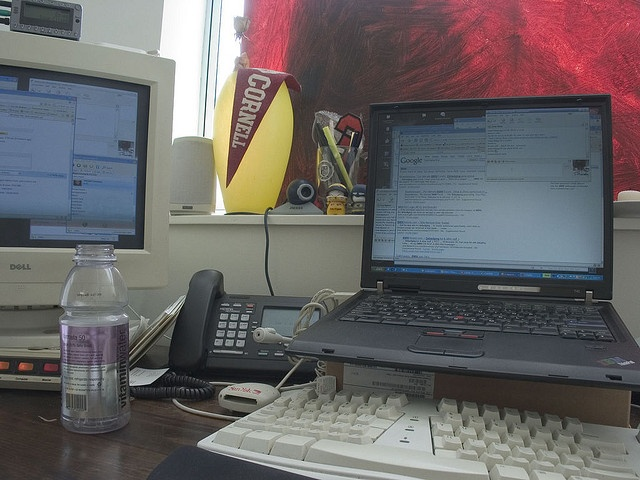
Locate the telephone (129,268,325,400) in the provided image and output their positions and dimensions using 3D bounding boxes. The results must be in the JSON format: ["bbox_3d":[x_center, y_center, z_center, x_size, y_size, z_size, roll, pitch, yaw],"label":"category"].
[{"bbox_3d":[-0.164,0.174,0.959,0.342,0.153,0.296,2,15,1],"label":"telephone"}]

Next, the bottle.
[{"bbox_3d":[-0.338,0.139,0.724,0.101,0.260,0.128,-3,11,-17],"label":"bottle"}]

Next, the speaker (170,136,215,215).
[{"bbox_3d":[-0.351,-0.178,1.334,0.119,0.211,0.098,-2,11,-10],"label":"speaker"}]
